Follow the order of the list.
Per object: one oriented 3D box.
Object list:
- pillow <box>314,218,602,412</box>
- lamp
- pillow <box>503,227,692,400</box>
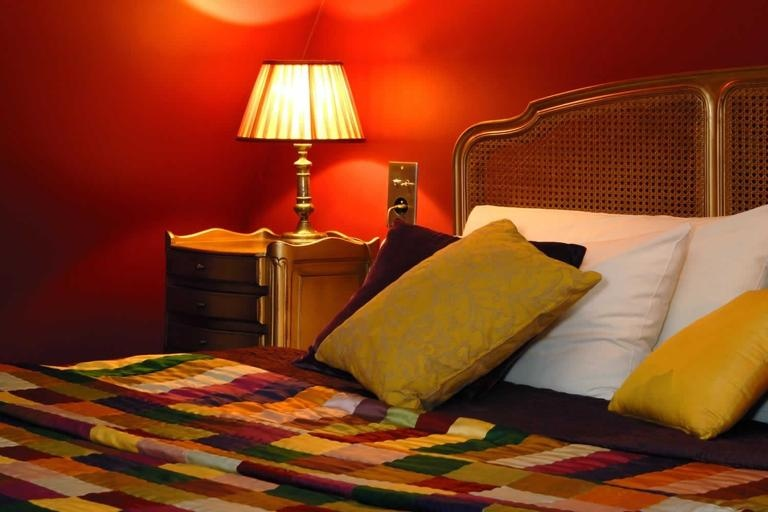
[{"bbox_3d":[0.200,0.129,1.800,0.593,0.396,0.887,-2,13,-1],"label":"pillow"},{"bbox_3d":[-0.336,-0.492,3.225,0.628,0.820,0.566,1,2,10],"label":"lamp"},{"bbox_3d":[0.675,0.125,1.996,0.576,0.438,0.398,4,12,38],"label":"pillow"}]
